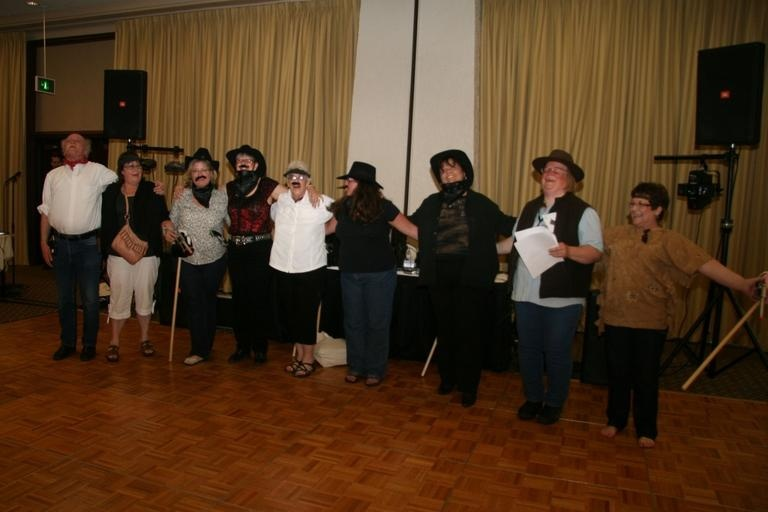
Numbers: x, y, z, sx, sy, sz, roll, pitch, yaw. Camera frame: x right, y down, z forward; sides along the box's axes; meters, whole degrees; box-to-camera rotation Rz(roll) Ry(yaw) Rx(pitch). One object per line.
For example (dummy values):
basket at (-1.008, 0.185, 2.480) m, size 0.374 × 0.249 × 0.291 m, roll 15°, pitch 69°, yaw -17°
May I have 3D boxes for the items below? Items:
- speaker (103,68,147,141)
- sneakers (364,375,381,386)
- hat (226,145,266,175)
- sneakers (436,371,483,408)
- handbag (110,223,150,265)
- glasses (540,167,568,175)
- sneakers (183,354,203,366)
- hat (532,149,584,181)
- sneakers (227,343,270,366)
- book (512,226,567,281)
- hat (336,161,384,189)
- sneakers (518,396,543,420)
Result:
speaker at (-3.327, -1.934, 7.535) m, size 0.562 × 0.886 × 0.230 m, roll 3°, pitch 9°, yaw 7°
sneakers at (-0.112, 1.166, 5.520) m, size 0.136 × 0.049 × 0.071 m, roll 4°, pitch 6°, yaw -30°
hat at (-1.319, -0.960, 5.794) m, size 0.398 × 0.456 × 0.145 m, roll 0°, pitch -17°, yaw -8°
sneakers at (0.702, 1.200, 5.261) m, size 0.276 × 0.280 × 0.103 m, roll 9°, pitch 11°, yaw 41°
handbag at (-2.453, -0.098, 5.668) m, size 0.344 × 0.347 × 0.111 m, roll 39°, pitch -29°, yaw -23°
glasses at (1.407, -0.708, 4.848) m, size 0.216 × 0.084 × 0.126 m, roll 4°, pitch 10°, yaw 15°
sneakers at (-1.893, 1.035, 5.824) m, size 0.083 × 0.086 × 0.215 m, roll 3°, pitch -8°, yaw 19°
hat at (1.477, -0.791, 4.963) m, size 0.443 × 0.151 × 0.408 m, roll 14°, pitch -4°, yaw 15°
sneakers at (-1.370, 1.000, 5.939) m, size 0.419 × 0.179 × 0.160 m, roll 13°, pitch -5°, yaw -30°
book at (1.223, -0.049, 4.647) m, size 0.382 × 0.388 × 0.156 m, roll -26°, pitch 23°, yaw 36°
hat at (-0.219, -0.748, 5.342) m, size 0.343 × 0.143 × 0.296 m, roll 16°, pitch 11°, yaw 4°
sneakers at (1.267, 1.307, 5.048) m, size 0.235 × 0.100 × 0.119 m, roll -3°, pitch 13°, yaw -37°
